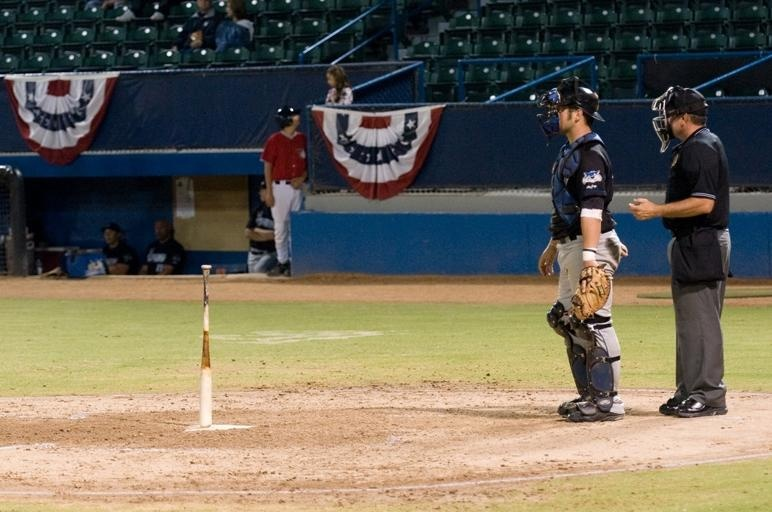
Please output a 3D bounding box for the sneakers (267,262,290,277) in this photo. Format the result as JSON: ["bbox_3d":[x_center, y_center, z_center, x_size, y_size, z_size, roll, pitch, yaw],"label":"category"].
[{"bbox_3d":[-1.940,0.273,30.742,0.497,0.158,0.185,3,1,-1],"label":"sneakers"}]

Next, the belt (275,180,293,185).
[{"bbox_3d":[-1.888,-1.280,30.311,0.273,0.089,0.056,-3,4,-3],"label":"belt"}]

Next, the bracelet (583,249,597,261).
[{"bbox_3d":[2.482,0.004,20.744,0.173,0.132,0.149,1,4,17],"label":"bracelet"}]

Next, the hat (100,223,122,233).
[{"bbox_3d":[-5.345,-0.509,32.768,0.361,0.144,0.235,18,-1,-24],"label":"hat"}]

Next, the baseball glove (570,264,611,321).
[{"bbox_3d":[2.504,0.459,20.757,0.601,0.579,0.203,-4,5,6],"label":"baseball glove"}]

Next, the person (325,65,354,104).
[{"bbox_3d":[-0.875,-3.004,30.343,0.478,0.700,0.578,-4,4,-1],"label":"person"}]

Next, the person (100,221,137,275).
[{"bbox_3d":[-5.220,-0.112,32.719,0.632,0.966,1.294,-4,4,-8],"label":"person"}]

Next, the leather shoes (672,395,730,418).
[{"bbox_3d":[3.907,1.879,21.123,0.755,0.260,0.217,2,-2,-4],"label":"leather shoes"}]

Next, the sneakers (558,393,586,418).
[{"bbox_3d":[2.291,1.868,21.100,0.348,0.128,0.249,-27,1,8],"label":"sneakers"}]

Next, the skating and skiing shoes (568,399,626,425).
[{"bbox_3d":[2.604,1.918,21.001,0.679,0.243,0.283,1,2,-2],"label":"skating and skiing shoes"}]
